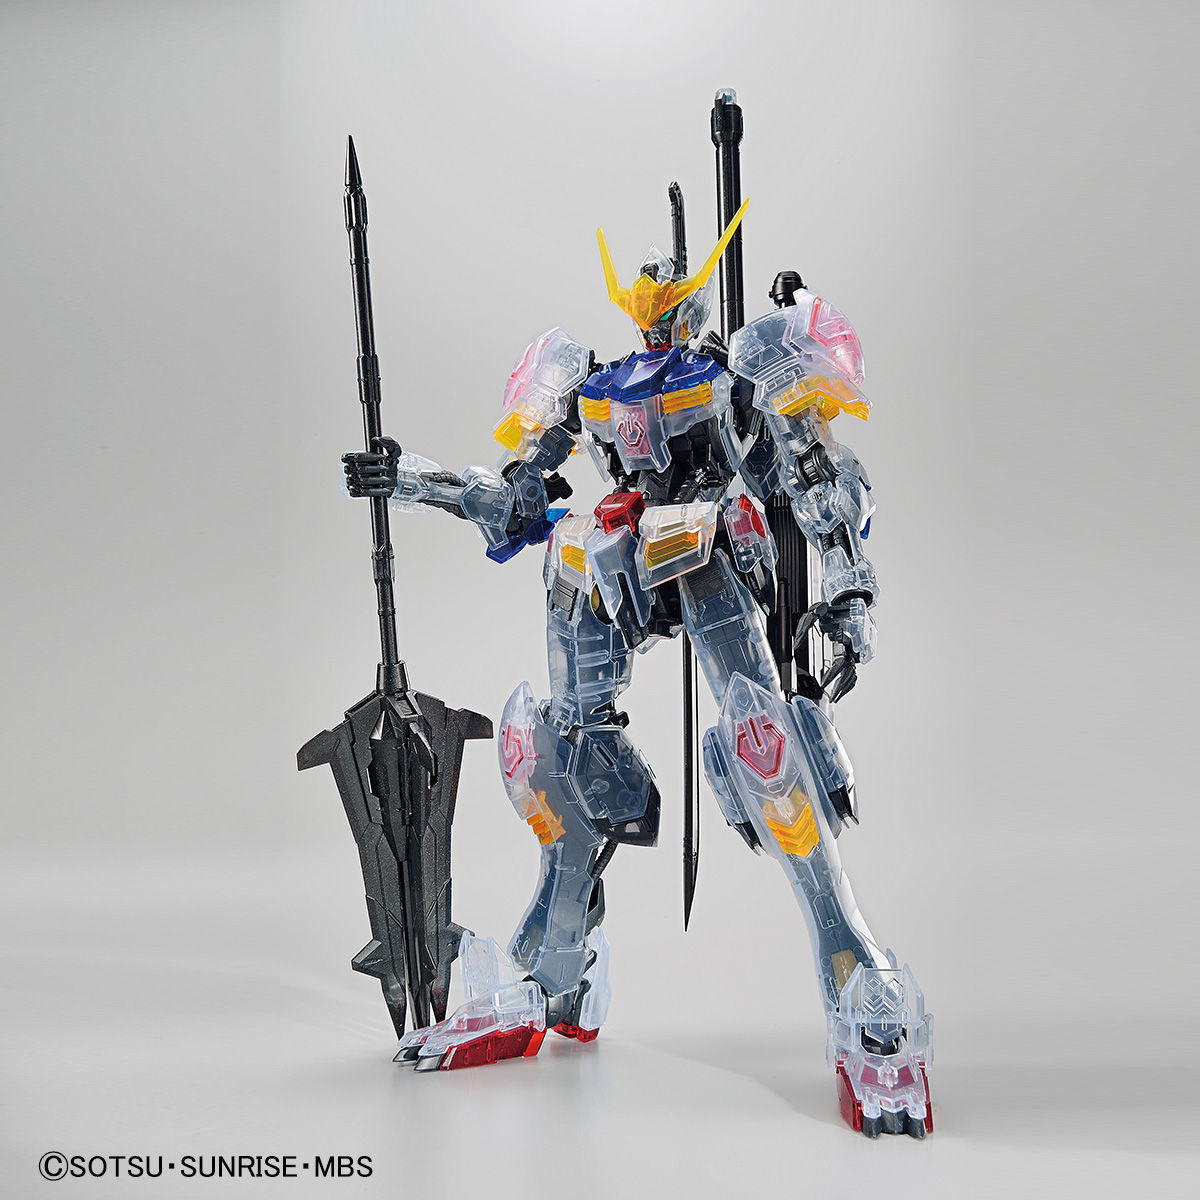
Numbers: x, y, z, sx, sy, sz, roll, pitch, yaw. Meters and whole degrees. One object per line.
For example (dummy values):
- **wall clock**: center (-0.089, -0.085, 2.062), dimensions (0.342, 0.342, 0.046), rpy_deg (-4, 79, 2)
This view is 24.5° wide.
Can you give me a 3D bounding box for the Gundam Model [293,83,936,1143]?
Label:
- **Gundam Model**: center (0.043, 0.008, 5.311), dimensions (1.116, 2.071, 0.609), rpy_deg (0, -18, 6)
